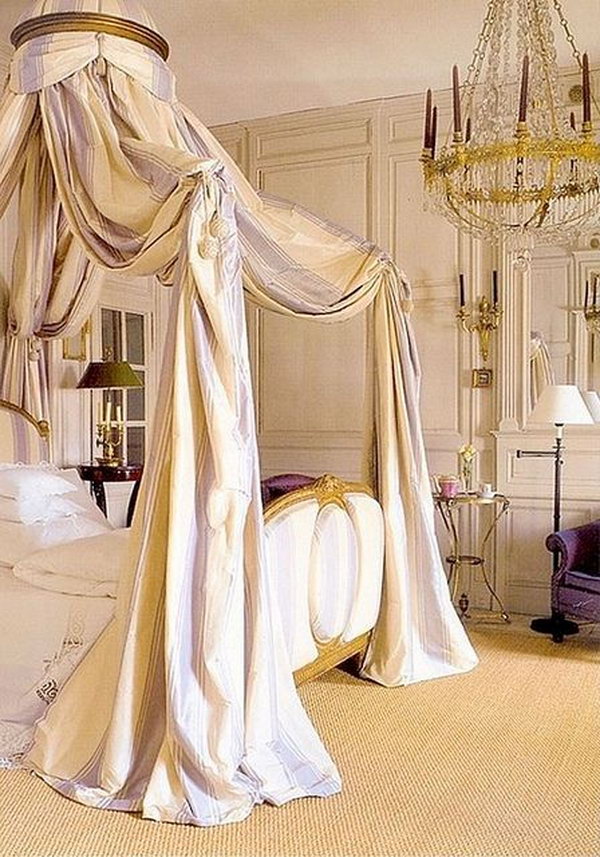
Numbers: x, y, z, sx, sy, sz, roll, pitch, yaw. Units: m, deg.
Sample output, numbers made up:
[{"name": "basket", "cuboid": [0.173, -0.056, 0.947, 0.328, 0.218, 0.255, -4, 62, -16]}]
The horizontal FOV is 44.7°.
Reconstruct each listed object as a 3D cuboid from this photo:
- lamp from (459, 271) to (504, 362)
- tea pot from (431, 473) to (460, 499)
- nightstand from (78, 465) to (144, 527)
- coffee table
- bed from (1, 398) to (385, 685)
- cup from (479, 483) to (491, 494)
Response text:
[{"name": "lamp", "cuboid": [1.188, -0.736, 4.849, 0.268, 0.590, 0.128, 2, -2, 14]}, {"name": "tea pot", "cuboid": [0.867, 0.351, 4.397, 0.172, 0.141, 0.133, 0, 0, -7]}, {"name": "nightstand", "cuboid": [-1.276, 0.405, 4.814, 0.494, 0.530, 0.497, 1, -5, -25]}, {"name": "coffee table", "cuboid": [1.107, 0.804, 4.683, 0.479, 0.813, 0.720, 2, -2, 12]}, {"name": "bed", "cuboid": [-0.426, 0.564, 3.045, 1.357, 0.849, 0.848, 0, 3, 21]}, {"name": "cup", "cuboid": [1.120, 0.370, 4.395, 0.057, 0.070, 0.071, -10, -16, 44]}]
